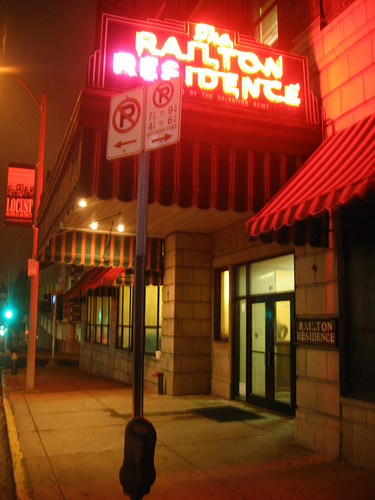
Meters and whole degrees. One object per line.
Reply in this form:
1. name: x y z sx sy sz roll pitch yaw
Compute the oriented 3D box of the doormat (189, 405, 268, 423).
1. doormat: 0.815 3.318 8.973 1.072 0.031 1.563 5 -11 -26
